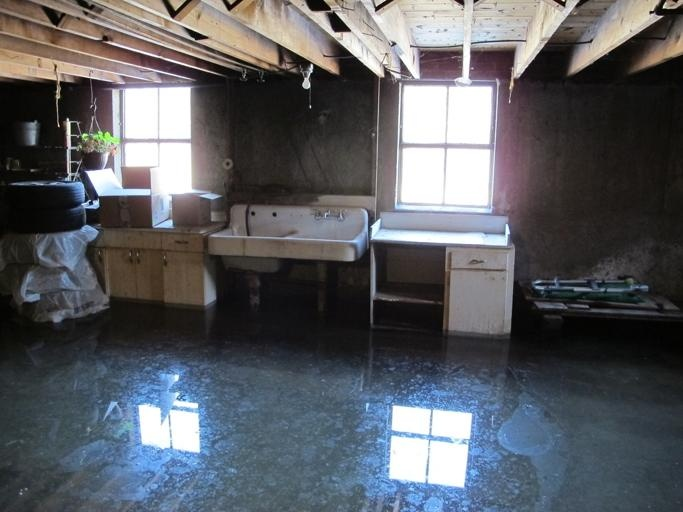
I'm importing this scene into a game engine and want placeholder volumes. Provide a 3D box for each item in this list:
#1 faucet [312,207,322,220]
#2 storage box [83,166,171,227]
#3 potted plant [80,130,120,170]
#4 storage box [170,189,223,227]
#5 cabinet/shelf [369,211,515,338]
[{"bbox_3d":[-0.282,-0.491,5.910,0.122,0.206,0.111,4,9,17],"label":"faucet"},{"bbox_3d":[-2.459,-0.704,5.960,0.975,0.709,1.050,-11,18,-37],"label":"storage box"},{"bbox_3d":[-3.008,-1.301,6.358,0.428,0.536,0.451,3,24,-15],"label":"potted plant"},{"bbox_3d":[-1.670,-0.548,5.998,0.493,0.345,0.498,4,10,12],"label":"storage box"},{"bbox_3d":[1.068,0.155,5.464,1.444,1.156,0.823,2,11,18],"label":"cabinet/shelf"}]
